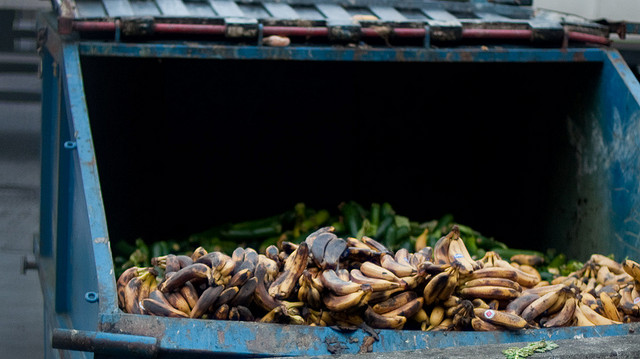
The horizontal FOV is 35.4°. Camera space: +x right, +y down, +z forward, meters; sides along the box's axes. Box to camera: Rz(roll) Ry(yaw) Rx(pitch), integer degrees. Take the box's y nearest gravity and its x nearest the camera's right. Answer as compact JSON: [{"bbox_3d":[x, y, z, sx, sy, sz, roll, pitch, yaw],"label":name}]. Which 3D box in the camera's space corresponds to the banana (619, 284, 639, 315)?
[{"bbox_3d":[3.487,1.353,11.353,0.173,0.407,0.104,4,-43,-12],"label":"banana"}]

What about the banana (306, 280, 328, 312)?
[{"bbox_3d":[-0.031,1.240,10.917,0.067,0.299,0.096,-20,9,35],"label":"banana"}]

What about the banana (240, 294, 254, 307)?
[{"bbox_3d":[-0.800,1.303,10.928,0.165,0.128,0.050,5,-6,-44],"label":"banana"}]

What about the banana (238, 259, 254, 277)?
[{"bbox_3d":[-0.814,0.951,11.045,0.162,0.162,0.178,0,-4,5],"label":"banana"}]

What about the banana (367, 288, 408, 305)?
[{"bbox_3d":[0.714,1.262,10.949,0.396,0.138,0.094,-10,9,-13],"label":"banana"}]

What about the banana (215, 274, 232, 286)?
[{"bbox_3d":[-1.048,1.077,10.853,0.145,0.095,0.054,-16,-8,-28],"label":"banana"}]

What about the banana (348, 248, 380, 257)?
[{"bbox_3d":[0.491,0.803,11.205,0.338,0.088,0.071,1,-4,0],"label":"banana"}]

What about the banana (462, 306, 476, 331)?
[{"bbox_3d":[1.602,1.512,10.988,0.120,0.257,0.057,-7,-3,-4],"label":"banana"}]

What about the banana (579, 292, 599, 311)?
[{"bbox_3d":[3.073,1.372,11.407,0.094,0.215,0.066,-12,-34,-17],"label":"banana"}]

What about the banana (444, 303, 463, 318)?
[{"bbox_3d":[1.463,1.436,10.994,0.191,0.068,0.106,-40,3,23],"label":"banana"}]

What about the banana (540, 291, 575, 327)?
[{"bbox_3d":[2.629,1.428,11.104,0.318,0.218,0.097,-46,32,-16],"label":"banana"}]

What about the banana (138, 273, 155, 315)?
[{"bbox_3d":[-1.911,1.249,10.960,0.109,0.385,0.092,-21,-39,37],"label":"banana"}]

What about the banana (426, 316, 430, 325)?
[{"bbox_3d":[1.186,1.532,11.027,0.016,0.098,0.023,6,0,5],"label":"banana"}]

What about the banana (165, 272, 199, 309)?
[{"bbox_3d":[-1.505,1.104,10.907,0.120,0.496,0.166,-24,-22,-16],"label":"banana"}]

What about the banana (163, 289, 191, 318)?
[{"bbox_3d":[-1.561,1.301,10.869,0.140,0.468,0.129,-23,-26,-32],"label":"banana"}]

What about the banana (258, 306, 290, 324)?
[{"bbox_3d":[-0.524,1.468,10.865,0.399,0.186,0.137,-17,-17,11],"label":"banana"}]

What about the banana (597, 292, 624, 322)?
[{"bbox_3d":[3.271,1.429,11.325,0.122,0.442,0.104,-37,-19,28],"label":"banana"}]

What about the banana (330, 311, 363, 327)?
[{"bbox_3d":[0.276,1.494,10.882,0.219,0.065,0.066,24,-7,-5],"label":"banana"}]

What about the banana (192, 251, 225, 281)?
[{"bbox_3d":[-1.191,0.928,10.992,0.232,0.099,0.238,-16,31,2],"label":"banana"}]

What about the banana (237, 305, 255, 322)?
[{"bbox_3d":[-0.815,1.434,10.869,0.179,0.158,0.062,1,-4,-9],"label":"banana"}]

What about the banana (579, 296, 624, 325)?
[{"bbox_3d":[3.178,1.471,11.283,0.103,0.292,0.068,-37,-24,-34],"label":"banana"}]

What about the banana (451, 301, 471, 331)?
[{"bbox_3d":[1.523,1.468,10.963,0.173,0.338,0.107,26,-3,-17],"label":"banana"}]

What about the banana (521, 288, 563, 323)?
[{"bbox_3d":[2.462,1.397,11.103,0.416,0.180,0.116,-31,22,-22],"label":"banana"}]

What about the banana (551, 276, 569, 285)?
[{"bbox_3d":[2.971,1.241,12.475,0.147,0.065,0.125,-24,15,-2],"label":"banana"}]

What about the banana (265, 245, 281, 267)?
[{"bbox_3d":[-0.535,0.855,11.331,0.115,0.256,0.093,-16,-20,-15],"label":"banana"}]

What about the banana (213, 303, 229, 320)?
[{"bbox_3d":[-1.068,1.418,10.798,0.108,0.175,0.047,35,7,24],"label":"banana"}]

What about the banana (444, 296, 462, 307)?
[{"bbox_3d":[1.455,1.337,11.046,0.123,0.090,0.114,-8,32,8],"label":"banana"}]

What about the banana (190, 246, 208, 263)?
[{"bbox_3d":[-1.371,0.823,11.260,0.173,0.066,0.133,-42,-3,-4],"label":"banana"}]

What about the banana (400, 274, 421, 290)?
[{"bbox_3d":[0.953,1.110,11.006,0.308,0.156,0.091,-6,-9,-11],"label":"banana"}]

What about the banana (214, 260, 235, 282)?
[{"bbox_3d":[-1.039,0.977,10.904,0.241,0.126,0.076,-49,14,-13],"label":"banana"}]

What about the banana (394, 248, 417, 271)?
[{"bbox_3d":[0.921,0.858,11.283,0.136,0.239,0.064,12,-54,-30],"label":"banana"}]

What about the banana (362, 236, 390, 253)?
[{"bbox_3d":[0.609,0.731,11.335,0.061,0.232,0.156,-49,-2,12],"label":"banana"}]

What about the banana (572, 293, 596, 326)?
[{"bbox_3d":[2.961,1.461,11.252,0.054,0.351,0.113,1,-26,-27],"label":"banana"}]

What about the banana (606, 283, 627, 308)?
[{"bbox_3d":[3.362,1.278,11.444,0.156,0.066,0.241,-7,36,-4],"label":"banana"}]

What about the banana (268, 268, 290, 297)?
[{"bbox_3d":[-0.465,1.144,11.067,0.101,0.407,0.099,26,-17,11],"label":"banana"}]
